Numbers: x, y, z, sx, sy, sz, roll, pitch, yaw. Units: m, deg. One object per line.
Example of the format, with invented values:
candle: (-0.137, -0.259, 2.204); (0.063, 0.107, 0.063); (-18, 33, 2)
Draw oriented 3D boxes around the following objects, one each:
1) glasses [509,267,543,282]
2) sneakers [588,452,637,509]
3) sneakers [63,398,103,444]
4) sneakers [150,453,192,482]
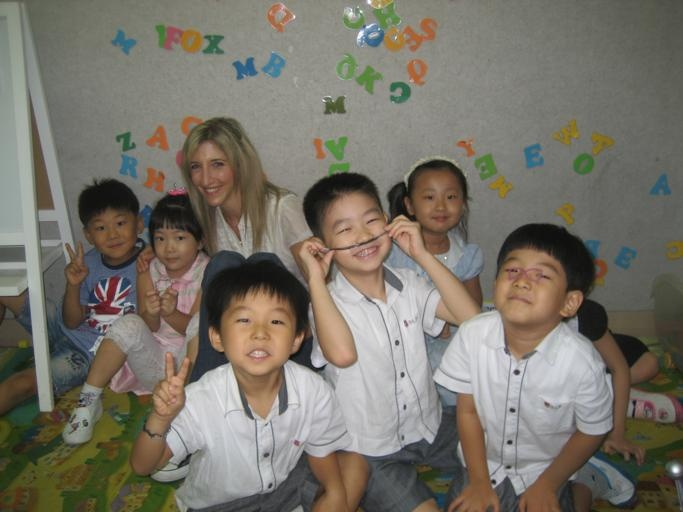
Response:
glasses: (0.601, 0.063, 1.866); (0.109, 0.040, 0.024); (3, 10, 16)
sneakers: (0.969, 0.805, 2.053); (0.122, 0.191, 0.074); (-46, 1, -24)
sneakers: (-1.075, 0.678, 2.381); (0.089, 0.088, 0.214); (2, 20, -5)
sneakers: (-0.642, 0.803, 2.149); (0.144, 0.123, 0.113); (-4, 10, -21)
